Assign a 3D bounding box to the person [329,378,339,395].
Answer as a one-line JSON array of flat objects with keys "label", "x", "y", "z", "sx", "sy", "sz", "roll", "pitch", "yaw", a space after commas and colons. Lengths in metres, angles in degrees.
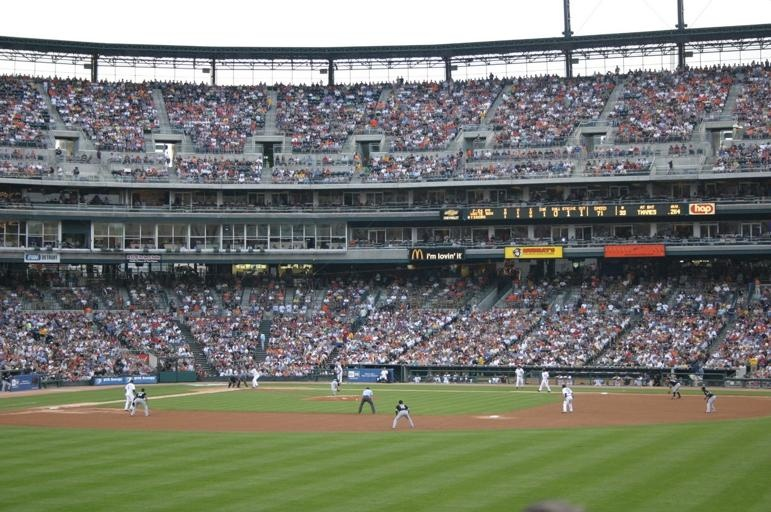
[{"label": "person", "x": -4.156, "y": 11.753, "z": 170.324, "sx": 0.525, "sy": 1.329, "sz": 2.190, "roll": 3, "pitch": 0, "yaw": -3}]
